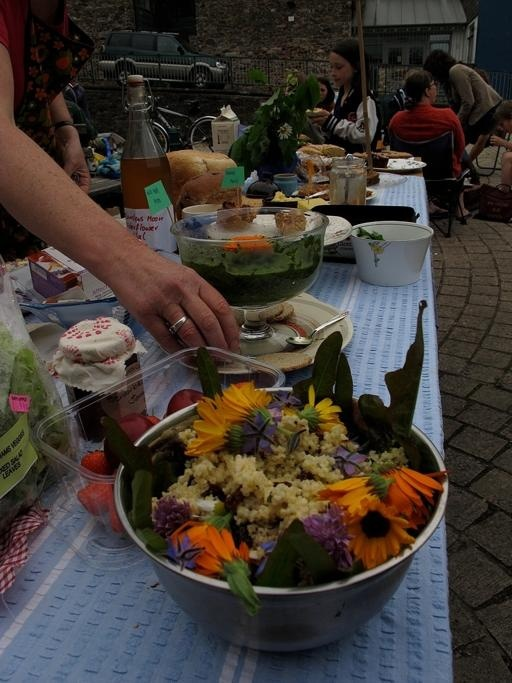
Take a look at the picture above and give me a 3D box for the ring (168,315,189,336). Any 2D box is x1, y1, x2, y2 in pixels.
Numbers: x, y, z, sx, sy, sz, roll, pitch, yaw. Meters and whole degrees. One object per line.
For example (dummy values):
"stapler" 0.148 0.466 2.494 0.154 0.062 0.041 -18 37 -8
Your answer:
"ring" -0.095 -0.020 0.615 0.026 0.009 0.019 -42 4 -10

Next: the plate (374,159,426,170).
"plate" 0.744 -0.932 2.650 0.163 0.021 0.154 -22 43 -25

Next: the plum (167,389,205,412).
"plum" -0.083 0.068 0.578 0.029 0.013 0.032 -5 15 0
